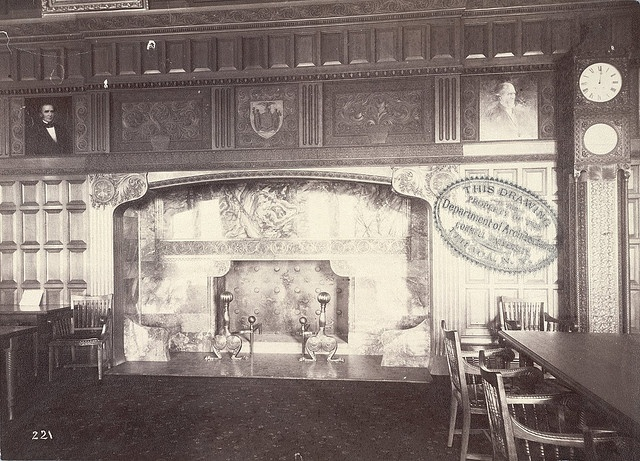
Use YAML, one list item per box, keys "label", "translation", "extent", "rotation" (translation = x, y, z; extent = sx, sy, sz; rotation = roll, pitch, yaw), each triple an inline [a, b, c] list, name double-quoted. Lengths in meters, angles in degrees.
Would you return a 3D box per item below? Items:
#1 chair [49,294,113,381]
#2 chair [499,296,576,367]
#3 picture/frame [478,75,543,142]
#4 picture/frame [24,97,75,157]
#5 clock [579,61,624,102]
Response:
- label: "chair"
  translation: [-3.707, 1.618, 13.962]
  extent: [1.053, 1.729, 1.193]
  rotation: [-2, -13, -1]
- label: "chair"
  translation: [3.179, 1.497, 13.134]
  extent: [0.953, 1.370, 0.943]
  rotation: [0, -11, 1]
- label: "picture/frame"
  translation: [2.981, -1.864, 13.455]
  extent: [1.016, 1.138, 0.056]
  rotation: [0, -3, 4]
- label: "picture/frame"
  translation: [-4.423, -1.687, 14.329]
  extent: [0.970, 1.246, 0.045]
  rotation: [-1, -4, -4]
- label: "clock"
  translation: [4.189, -2.225, 12.938]
  extent: [0.584, 0.585, 0.082]
  rotation: [-1, 5, 8]
